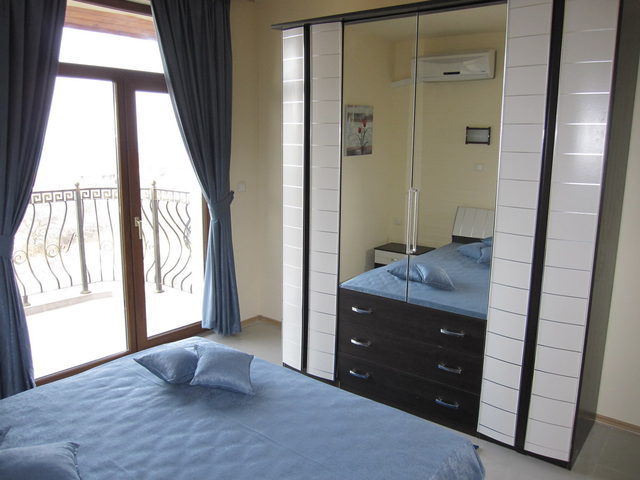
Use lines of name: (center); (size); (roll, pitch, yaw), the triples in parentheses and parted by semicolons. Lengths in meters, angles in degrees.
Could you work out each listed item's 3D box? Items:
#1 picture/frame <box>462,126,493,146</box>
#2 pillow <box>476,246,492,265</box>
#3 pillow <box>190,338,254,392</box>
picture/frame: (1.108, -0.724, 3.456); (0.126, 0.110, 0.021); (6, 8, 34)
pillow: (1.172, 0.112, 3.515); (0.029, 0.111, 0.096); (12, -8, -38)
pillow: (-0.607, 0.810, 3.195); (0.260, 0.090, 0.283); (13, 21, -18)
